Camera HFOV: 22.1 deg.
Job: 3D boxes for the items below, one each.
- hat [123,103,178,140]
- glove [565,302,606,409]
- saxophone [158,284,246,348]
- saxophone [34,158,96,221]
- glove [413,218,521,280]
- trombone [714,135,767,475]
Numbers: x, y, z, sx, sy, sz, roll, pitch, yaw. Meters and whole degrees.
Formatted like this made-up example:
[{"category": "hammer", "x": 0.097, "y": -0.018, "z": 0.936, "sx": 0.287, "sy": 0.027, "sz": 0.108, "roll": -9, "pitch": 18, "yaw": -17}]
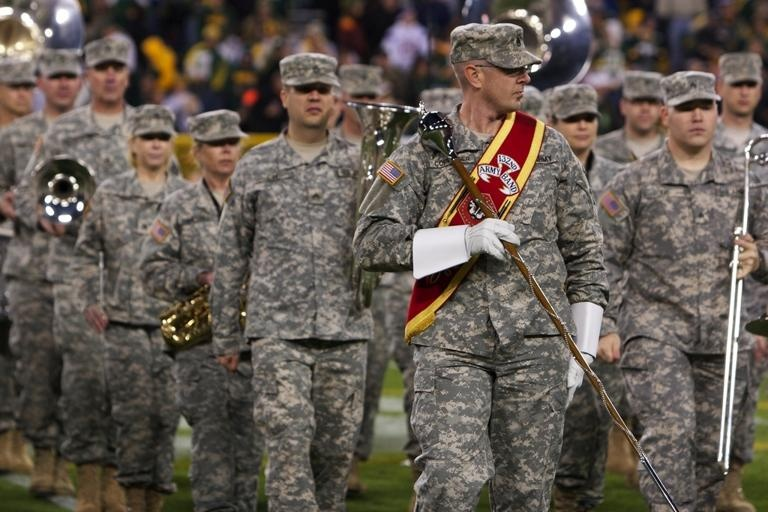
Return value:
[{"category": "hat", "x": -1.847, "y": -1.101, "z": 15.736, "sx": 0.394, "sy": 0.316, "sz": 0.317, "roll": 5, "pitch": -14, "yaw": -2}, {"category": "glove", "x": 1.348, "y": 0.675, "z": 13.435, "sx": 0.215, "sy": 0.714, "sz": 0.268, "roll": 5, "pitch": -15, "yaw": 5}, {"category": "saxophone", "x": -1.451, "y": 0.459, "z": 14.934, "sx": 0.425, "sy": 0.501, "sz": 0.206, "roll": 0, "pitch": -16, "yaw": 20}, {"category": "saxophone", "x": -2.526, "y": -0.531, "z": 15.985, "sx": 0.585, "sy": 0.477, "sz": 0.555, "roll": 8, "pitch": -5, "yaw": 1}, {"category": "glove", "x": 0.537, "y": -0.058, "z": 13.187, "sx": 0.710, "sy": 0.407, "sz": 0.188, "roll": 1, "pitch": -16, "yaw": 16}, {"category": "trombone", "x": 2.562, "y": 0.310, "z": 14.287, "sx": 0.418, "sy": 2.191, "sz": 0.303, "roll": 7, "pitch": 1, "yaw": 34}]
